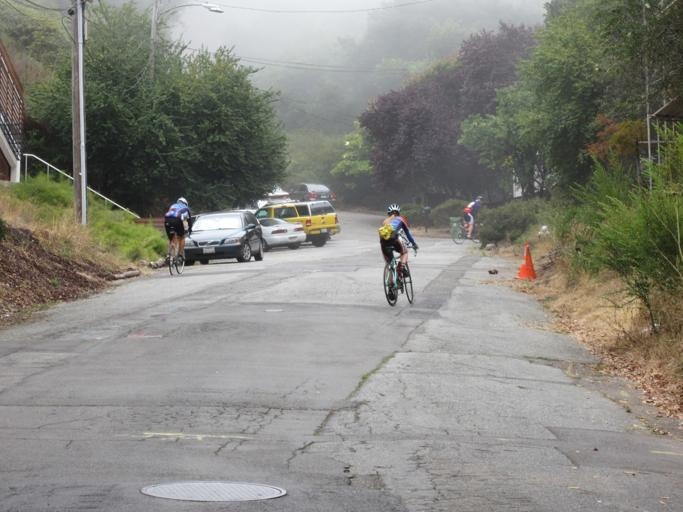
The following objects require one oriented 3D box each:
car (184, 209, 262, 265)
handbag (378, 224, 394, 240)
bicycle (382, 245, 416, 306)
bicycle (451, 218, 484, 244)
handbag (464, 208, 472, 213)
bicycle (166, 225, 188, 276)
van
[{"bbox_3d":[-4.072,-0.713,24.166,1.354,1.082,2.753,-2,-2,6],"label":"car"},{"bbox_3d":[0.929,-0.516,14.798,0.322,0.362,0.248,5,4,-32],"label":"handbag"},{"bbox_3d":[1.224,0.505,14.641,0.572,0.882,1.363,1,12,14],"label":"bicycle"},{"bbox_3d":[6.751,-1.126,35.783,1.705,1.156,0.957,-2,31,-9],"label":"bicycle"},{"bbox_3d":[6.506,-2.322,34.776,0.294,0.091,0.324,-8,13,-22],"label":"handbag"},{"bbox_3d":[-4.979,-0.097,20.534,0.457,1.267,0.920,0,5,-15],"label":"bicycle"},{"bbox_3d":[-2.497,-1.654,34.593,1.939,1.803,3.903,-6,9,-43],"label":"van"}]
